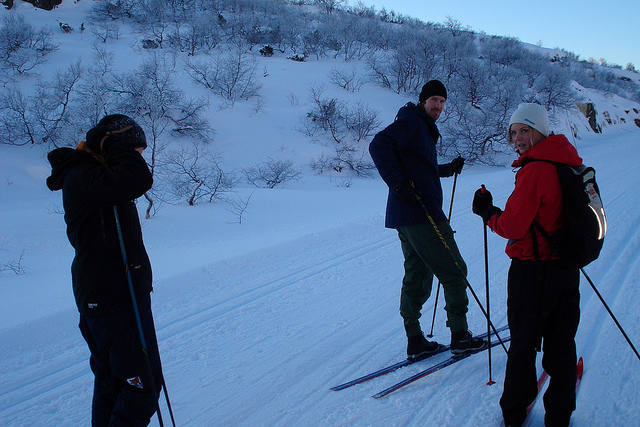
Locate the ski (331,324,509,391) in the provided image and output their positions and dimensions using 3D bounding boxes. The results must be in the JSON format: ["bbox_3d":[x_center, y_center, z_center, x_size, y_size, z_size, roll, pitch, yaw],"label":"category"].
[{"bbox_3d":[1.266,1.807,5.657,2.248,0.185,0.153,-18,-4,-14],"label":"ski"}]

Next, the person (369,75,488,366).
[{"bbox_3d":[1.354,0.084,5.760,1.379,3.431,1.087,5,15,19],"label":"person"}]

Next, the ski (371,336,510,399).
[{"bbox_3d":[1.485,1.883,5.536,1.509,0.107,0.164,-22,32,-10],"label":"ski"}]

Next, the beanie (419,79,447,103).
[{"bbox_3d":[1.396,-1.539,5.745,0.290,0.257,0.281,-4,1,-41],"label":"beanie"}]

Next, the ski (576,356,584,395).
[{"bbox_3d":[3.057,1.860,5.404,0.084,0.638,0.073,2,-27,28],"label":"ski"}]

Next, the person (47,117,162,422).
[{"bbox_3d":[-2.123,0.599,4.704,0.908,3.086,1.053,-5,15,-23],"label":"person"}]

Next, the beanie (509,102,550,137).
[{"bbox_3d":[2.259,-1.019,5.032,0.376,0.312,0.344,-9,14,-1],"label":"beanie"}]

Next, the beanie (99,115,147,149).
[{"bbox_3d":[-2.064,-0.860,4.799,0.438,0.335,0.279,-4,14,-21],"label":"beanie"}]

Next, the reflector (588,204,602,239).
[{"bbox_3d":[2.825,0.083,4.708,0.183,0.353,0.074,-3,14,-14],"label":"reflector"}]
